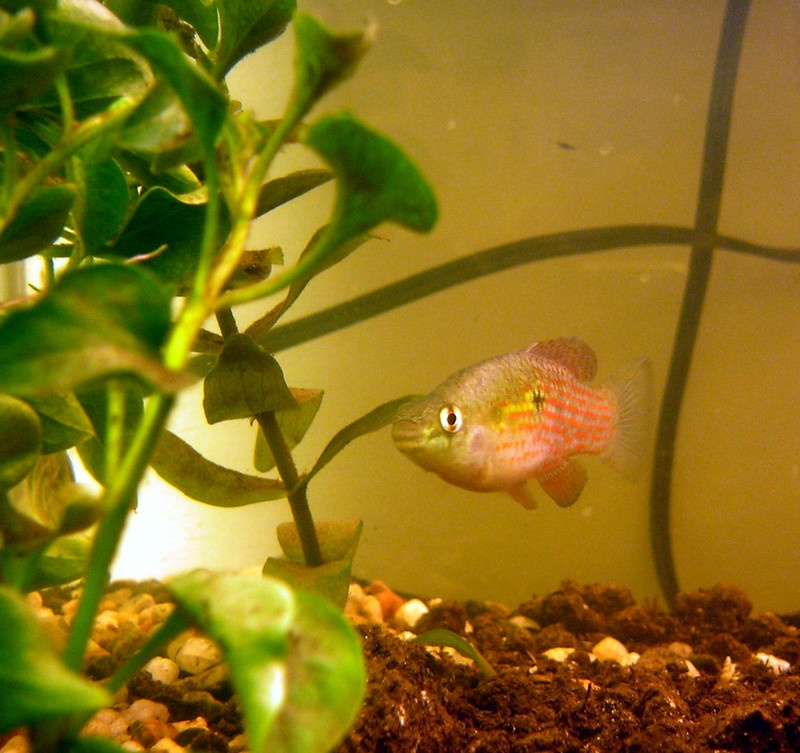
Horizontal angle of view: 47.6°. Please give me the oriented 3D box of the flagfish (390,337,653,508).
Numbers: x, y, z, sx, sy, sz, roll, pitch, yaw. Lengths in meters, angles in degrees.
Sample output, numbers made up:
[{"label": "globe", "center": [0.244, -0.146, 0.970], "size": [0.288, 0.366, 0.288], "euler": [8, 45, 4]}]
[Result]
[{"label": "flagfish", "center": [0.144, 0.054, 0.957], "size": [0.354, 0.182, 0.059], "euler": [-4, 3, -34]}]
